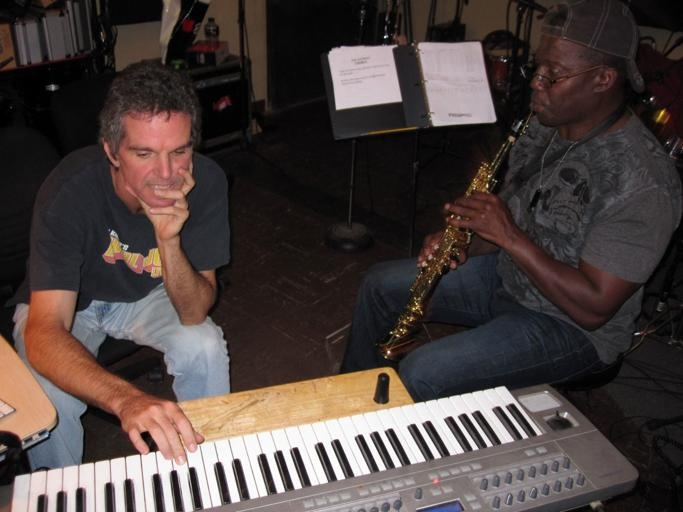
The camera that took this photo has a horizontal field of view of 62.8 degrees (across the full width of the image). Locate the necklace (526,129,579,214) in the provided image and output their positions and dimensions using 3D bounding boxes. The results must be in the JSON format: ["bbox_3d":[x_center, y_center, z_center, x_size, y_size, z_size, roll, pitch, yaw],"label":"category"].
[{"bbox_3d":[0.978,-0.397,2.634,0.128,0.405,0.026,36,22,35],"label":"necklace"}]

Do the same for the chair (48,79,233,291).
[{"bbox_3d":[-1.431,-0.709,3.757,1.038,1.271,1.122,-18,26,-32],"label":"chair"}]
